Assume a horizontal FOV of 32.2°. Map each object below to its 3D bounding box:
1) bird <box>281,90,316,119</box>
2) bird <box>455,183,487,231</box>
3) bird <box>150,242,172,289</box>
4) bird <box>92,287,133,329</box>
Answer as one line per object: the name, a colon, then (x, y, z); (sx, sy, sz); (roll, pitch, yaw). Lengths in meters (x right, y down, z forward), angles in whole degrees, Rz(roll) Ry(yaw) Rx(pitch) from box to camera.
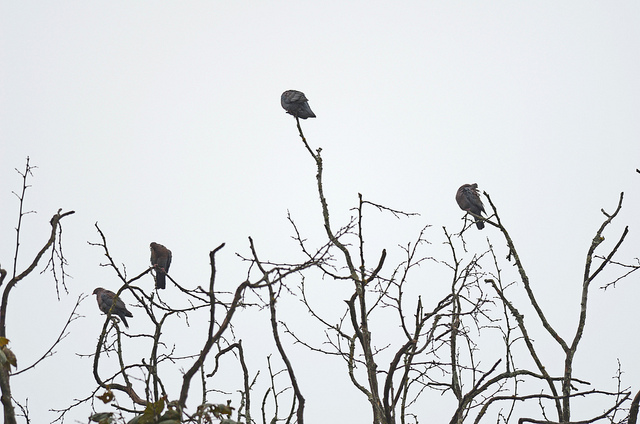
bird: (-0.231, -1.194, 12.059); (0.386, 0.281, 0.369); (6, -87, 10)
bird: (1.635, -0.081, 12.057); (0.344, 0.574, 0.260); (6, -43, -15)
bird: (-2.550, 0.855, 17.661); (0.299, 0.995, 0.470); (15, -79, -17)
bird: (-2.787, 1.281, 14.835); (0.525, 0.524, 0.277); (8, -30, -15)
